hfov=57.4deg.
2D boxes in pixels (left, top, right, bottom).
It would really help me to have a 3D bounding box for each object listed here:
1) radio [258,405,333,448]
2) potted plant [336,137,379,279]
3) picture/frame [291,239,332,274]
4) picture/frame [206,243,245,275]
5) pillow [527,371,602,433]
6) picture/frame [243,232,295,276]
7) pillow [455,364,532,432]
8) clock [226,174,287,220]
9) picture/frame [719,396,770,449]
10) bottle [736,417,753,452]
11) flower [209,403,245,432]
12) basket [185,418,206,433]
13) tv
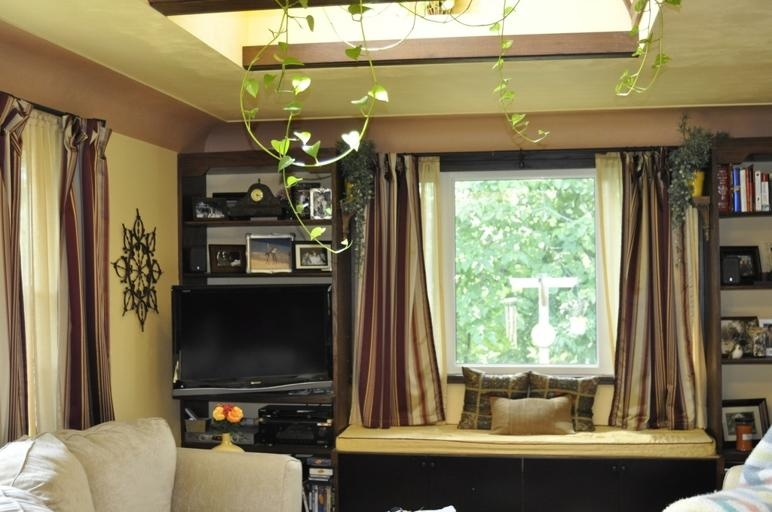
[{"bbox_3d":[-0.554,1.264,5.357,0.628,0.275,0.483,-5,-1,32],"label":"radio"},{"bbox_3d":[-0.249,-0.431,5.424,0.281,0.892,0.253,12,7,-3],"label":"potted plant"},{"bbox_3d":[-0.555,0.016,5.323,0.285,0.223,0.028,1,-2,3],"label":"picture/frame"},{"bbox_3d":[-1.231,0.030,5.496,0.268,0.211,0.029,0,3,-11],"label":"picture/frame"},{"bbox_3d":[1.324,1.103,5.222,0.418,0.301,0.141,1,6,10],"label":"pillow"},{"bbox_3d":[-0.855,-0.013,5.474,0.505,0.388,0.276,1,-1,-1],"label":"picture/frame"},{"bbox_3d":[0.857,1.124,5.369,0.543,0.437,0.198,0,-10,22],"label":"pillow"},{"bbox_3d":[-0.957,-0.428,5.460,0.437,0.250,0.247,0,6,12],"label":"clock"},{"bbox_3d":[2.541,1.194,4.994,0.391,0.338,0.041,0,-17,-2],"label":"picture/frame"},{"bbox_3d":[2.527,1.273,4.994,0.147,0.223,0.157,0,-6,0],"label":"bottle"},{"bbox_3d":[-1.117,1.158,5.100,0.235,0.097,0.237,3,5,15],"label":"flower"},{"bbox_3d":[-1.440,1.296,5.360,0.119,0.067,0.116,0,-4,6],"label":"basket"},{"bbox_3d":[-0.983,0.609,5.287,1.197,0.782,0.117,0,-2,-26],"label":"tv"}]
